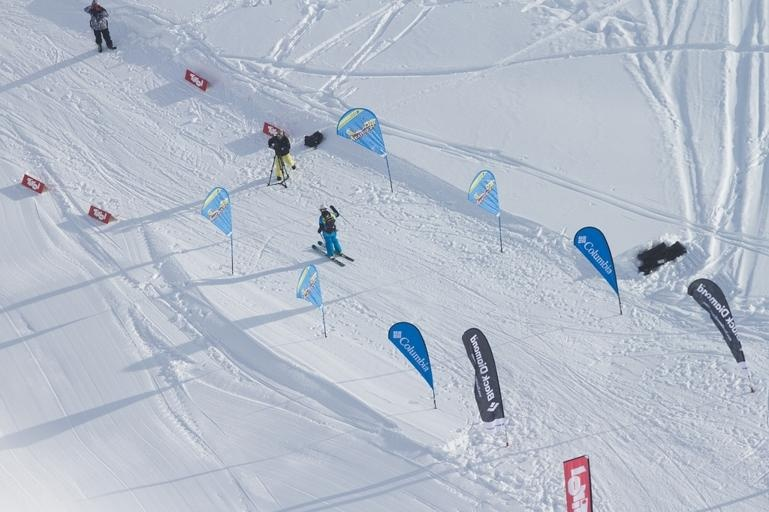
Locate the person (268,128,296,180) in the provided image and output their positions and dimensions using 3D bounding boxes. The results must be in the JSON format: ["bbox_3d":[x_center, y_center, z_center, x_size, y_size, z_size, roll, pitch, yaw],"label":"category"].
[{"bbox_3d":[-3.064,-3.102,37.509,0.813,0.563,1.584,-15,-61,-17],"label":"person"}]

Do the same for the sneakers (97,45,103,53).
[{"bbox_3d":[-9.057,-6.633,40.425,0.108,0.220,0.211,-1,-22,-4],"label":"sneakers"}]

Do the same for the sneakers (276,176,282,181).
[{"bbox_3d":[-3.140,-2.342,37.696,0.194,0.118,0.129,-6,-5,16],"label":"sneakers"}]
